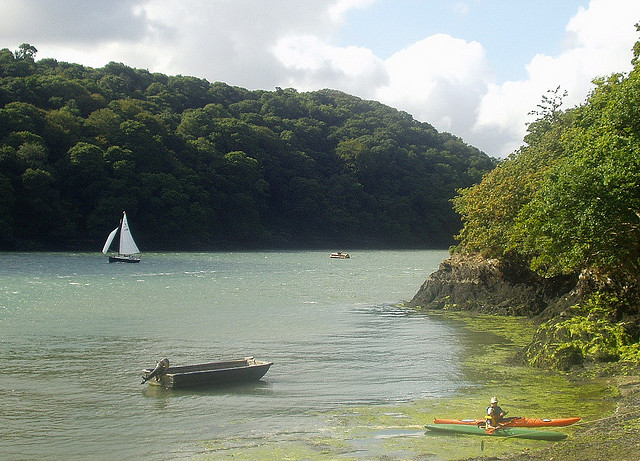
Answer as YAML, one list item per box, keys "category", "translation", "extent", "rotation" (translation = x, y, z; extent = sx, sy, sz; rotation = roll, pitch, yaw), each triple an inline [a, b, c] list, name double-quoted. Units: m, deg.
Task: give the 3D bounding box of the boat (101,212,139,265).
- category: "boat"
  translation: [-24.196, 0.725, 80.536]
  extent: [3.367, 5.941, 8.881]
  rotation: [-2, 3, -17]

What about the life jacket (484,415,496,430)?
- category: "life jacket"
  translation: [5.753, 6.473, 22.173]
  extent: [0.369, 0.422, 0.301]
  rotation: [1, 4, 25]

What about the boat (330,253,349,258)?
- category: "boat"
  translation: [2.967, 3.778, 103.252]
  extent: [2.348, 0.735, 3.781]
  rotation: [-1, 3, -6]

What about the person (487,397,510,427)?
- category: "person"
  translation: [6.025, 6.098, 22.293]
  extent: [0.621, 0.930, 0.426]
  rotation: [-1, 4, -10]

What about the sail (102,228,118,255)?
- category: "sail"
  translation: [-29.326, 1.427, 91.175]
  extent: [0.837, 4.019, 0.447]
  rotation: [24, -15, 28]

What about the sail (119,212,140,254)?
- category: "sail"
  translation: [-24.051, 0.405, 81.672]
  extent: [3.030, 5.427, 0.250]
  rotation: [-4, 8, 5]
